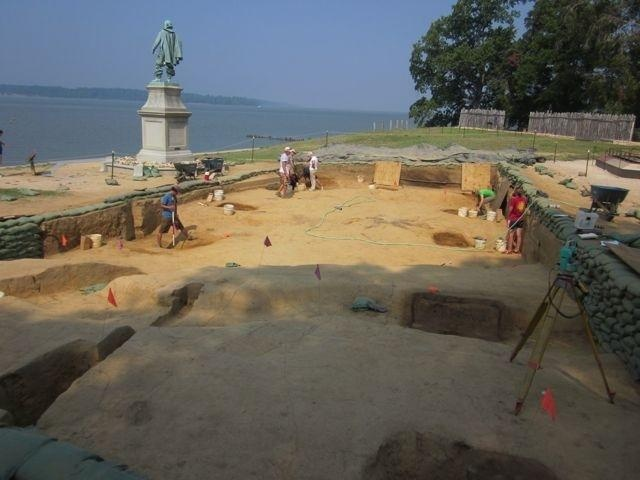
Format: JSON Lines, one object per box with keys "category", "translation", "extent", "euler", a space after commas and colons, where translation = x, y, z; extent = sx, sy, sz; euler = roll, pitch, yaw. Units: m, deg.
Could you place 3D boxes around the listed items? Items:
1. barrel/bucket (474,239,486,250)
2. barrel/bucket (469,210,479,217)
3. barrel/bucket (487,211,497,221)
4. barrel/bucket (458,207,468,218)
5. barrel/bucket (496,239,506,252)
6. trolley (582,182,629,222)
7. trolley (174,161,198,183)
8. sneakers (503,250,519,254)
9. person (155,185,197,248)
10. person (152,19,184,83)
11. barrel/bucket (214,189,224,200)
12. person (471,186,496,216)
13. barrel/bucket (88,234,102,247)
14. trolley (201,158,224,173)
{"category": "barrel/bucket", "translation": [5.117, 0.116, 12.652], "extent": [0.327, 0.284, 0.272], "euler": [1, 2, 6]}
{"category": "barrel/bucket", "translation": [6.232, -1.064, 16.193], "extent": [0.305, 0.201, 0.280], "euler": [0, 4, 0]}
{"category": "barrel/bucket", "translation": [6.836, -0.962, 15.752], "extent": [0.345, 0.254, 0.349], "euler": [0, 8, 0]}
{"category": "barrel/bucket", "translation": [5.856, -1.141, 16.275], "extent": [0.411, 0.374, 0.401], "euler": [-1, 11, 0]}
{"category": "barrel/bucket", "translation": [5.705, 0.193, 12.568], "extent": [0.351, 0.367, 0.356], "euler": [-1, 6, 0]}
{"category": "trolley", "translation": [9.078, -1.188, 12.380], "extent": [1.137, 0.826, 1.089], "euler": [3, 14, -3]}
{"category": "trolley", "translation": [-6.672, -3.401, 19.936], "extent": [1.167, 0.958, 1.312], "euler": [0, 7, 5]}
{"category": "sneakers", "translation": [5.981, 0.386, 12.352], "extent": [0.400, 0.105, 0.156], "euler": [2, 8, 6]}
{"category": "person", "translation": [-4.816, -0.789, 12.772], "extent": [0.971, 1.832, 1.442], "euler": [-4, 15, -20]}
{"category": "person", "translation": [-8.946, -10.930, 23.053], "extent": [1.518, 3.237, 1.028], "euler": [-5, 15, -23]}
{"category": "barrel/bucket", "translation": [-4.523, -1.974, 17.585], "extent": [0.415, 0.439, 0.389], "euler": [1, 14, 0]}
{"category": "person", "translation": [7.222, -1.683, 17.513], "extent": [1.116, 0.578, 1.764], "euler": [-5, 43, 9]}
{"category": "barrel/bucket", "translation": [-6.556, 0.001, 11.549], "extent": [0.355, 0.296, 0.359], "euler": [1, 8, 0]}
{"category": "trolley", "translation": [-5.837, -3.943, 21.092], "extent": [1.148, 0.686, 0.977], "euler": [1, 10, 3]}
